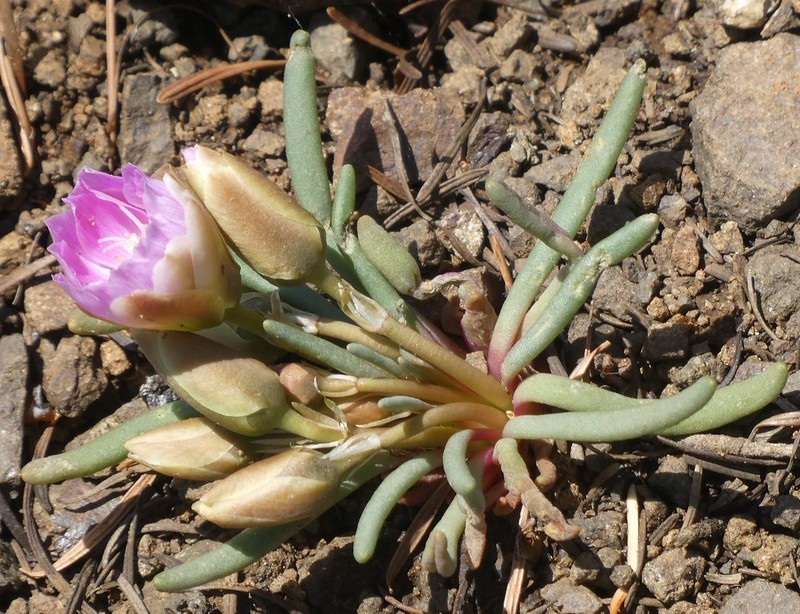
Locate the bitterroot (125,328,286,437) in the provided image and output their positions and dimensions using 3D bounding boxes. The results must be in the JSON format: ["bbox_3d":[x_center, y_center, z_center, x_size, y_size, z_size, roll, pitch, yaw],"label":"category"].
[{"bbox_3d":[-0.554,0.195,2.745,0.481,0.172,0.237,34,66,2],"label":"bitterroot"}]

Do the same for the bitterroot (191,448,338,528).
[{"bbox_3d":[-0.379,0.515,2.650,0.369,0.143,0.209,-2,72,-13],"label":"bitterroot"}]

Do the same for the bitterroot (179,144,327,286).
[{"bbox_3d":[-0.440,-0.311,2.850,0.279,0.511,0.199,-29,17,0],"label":"bitterroot"}]

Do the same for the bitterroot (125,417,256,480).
[{"bbox_3d":[-0.630,0.424,2.768,0.310,0.117,0.173,12,55,-18],"label":"bitterroot"}]
